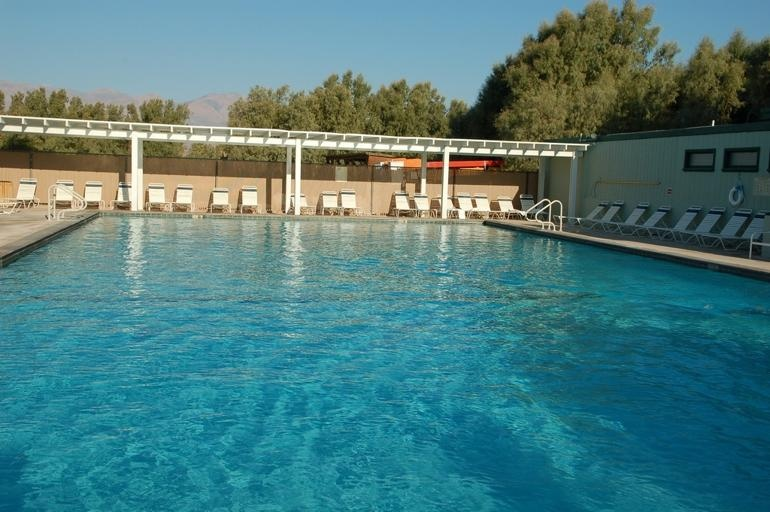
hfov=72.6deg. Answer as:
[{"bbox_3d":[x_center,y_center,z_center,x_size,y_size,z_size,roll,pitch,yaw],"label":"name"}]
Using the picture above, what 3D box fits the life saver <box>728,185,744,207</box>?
[{"bbox_3d":[9.608,-1.688,14.327,0.123,0.610,0.421,-1,12,-12],"label":"life saver"}]
